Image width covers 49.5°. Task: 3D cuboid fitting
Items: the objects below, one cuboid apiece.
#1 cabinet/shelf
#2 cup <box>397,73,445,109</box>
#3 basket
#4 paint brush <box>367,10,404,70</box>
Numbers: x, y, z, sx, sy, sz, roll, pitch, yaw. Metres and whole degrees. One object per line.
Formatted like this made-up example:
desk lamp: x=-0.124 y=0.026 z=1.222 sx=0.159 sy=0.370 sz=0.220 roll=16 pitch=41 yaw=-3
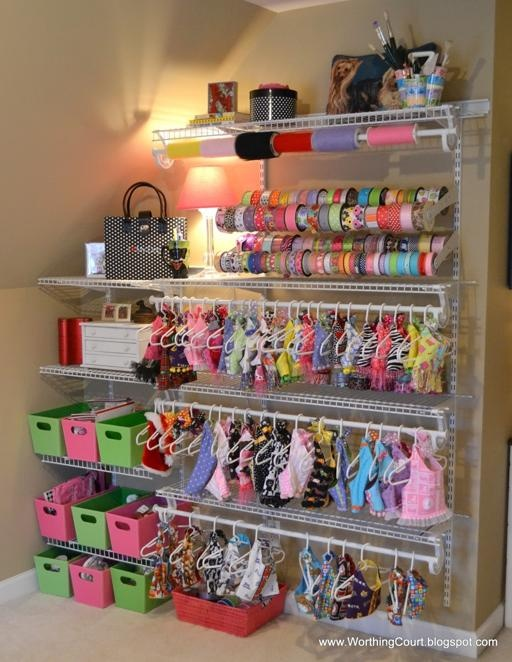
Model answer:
cabinet/shelf: x=0.023 y=0.194 z=2.208 sx=1.551 sy=2.089 sz=0.791 roll=4 pitch=12 yaw=39
cup: x=0.520 y=-0.752 z=1.772 sx=0.132 sy=0.080 sz=0.118 roll=5 pitch=12 yaw=33
basket: x=-0.118 y=1.133 z=2.234 sx=0.300 sy=0.096 sz=0.298 roll=0 pitch=-1 yaw=36
paint brush: x=0.461 y=-0.974 z=1.945 sx=0.103 sy=0.066 sz=0.379 roll=19 pitch=6 yaw=6
